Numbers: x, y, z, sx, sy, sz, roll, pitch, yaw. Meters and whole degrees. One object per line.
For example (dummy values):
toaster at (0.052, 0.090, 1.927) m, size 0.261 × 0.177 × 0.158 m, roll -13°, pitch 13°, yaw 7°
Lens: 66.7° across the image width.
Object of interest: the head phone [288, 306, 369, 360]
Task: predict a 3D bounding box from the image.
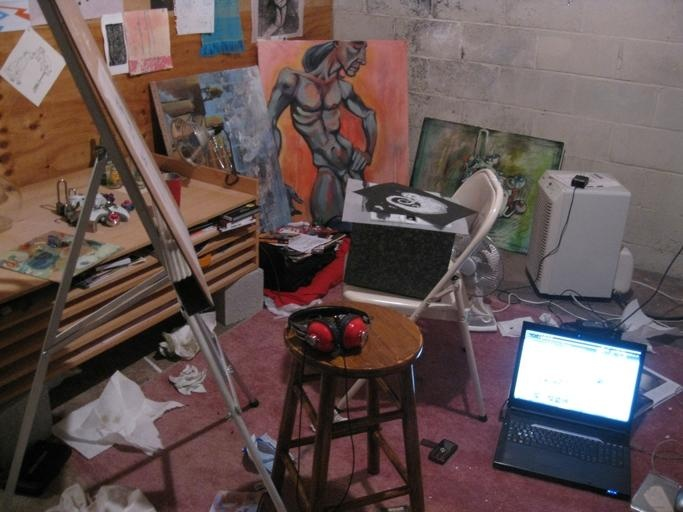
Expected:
head phone at (-0.054, 0.254, 1.885) m, size 0.262 × 0.130 × 0.295 m, roll 3°, pitch 16°, yaw 3°

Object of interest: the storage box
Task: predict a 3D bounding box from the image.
storage box at (0.253, 0.003, 2.735) m, size 0.588 × 0.425 × 0.482 m, roll 9°, pitch -8°, yaw 18°

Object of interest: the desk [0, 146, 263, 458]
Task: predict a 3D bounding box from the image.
desk at (-0.988, 0.241, 2.348) m, size 0.469 × 0.570 × 1.335 m, roll 14°, pitch 30°, yaw 26°

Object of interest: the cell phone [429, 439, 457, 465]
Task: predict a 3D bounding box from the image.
cell phone at (0.455, 0.889, 2.365) m, size 0.090 × 0.025 × 0.144 m, roll 23°, pitch 36°, yaw 36°

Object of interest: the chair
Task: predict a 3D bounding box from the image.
chair at (0.364, 0.130, 2.679) m, size 0.954 × 1.139 × 0.893 m, roll 11°, pitch 25°, yaw 26°

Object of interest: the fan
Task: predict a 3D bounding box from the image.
fan at (0.691, 0.115, 2.680) m, size 0.249 × 0.518 × 0.329 m, roll 4°, pitch -3°, yaw 7°
